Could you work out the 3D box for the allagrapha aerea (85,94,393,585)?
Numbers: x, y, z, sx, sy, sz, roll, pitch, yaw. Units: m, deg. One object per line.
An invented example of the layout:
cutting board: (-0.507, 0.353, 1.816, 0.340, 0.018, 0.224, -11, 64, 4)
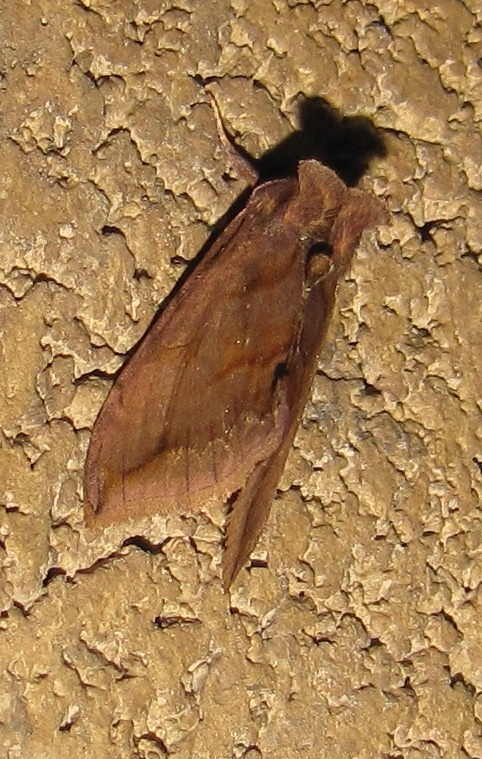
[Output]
allagrapha aerea: (0.007, -0.061, 1.555, 0.272, 0.584, 0.180, 28, 12, -4)
